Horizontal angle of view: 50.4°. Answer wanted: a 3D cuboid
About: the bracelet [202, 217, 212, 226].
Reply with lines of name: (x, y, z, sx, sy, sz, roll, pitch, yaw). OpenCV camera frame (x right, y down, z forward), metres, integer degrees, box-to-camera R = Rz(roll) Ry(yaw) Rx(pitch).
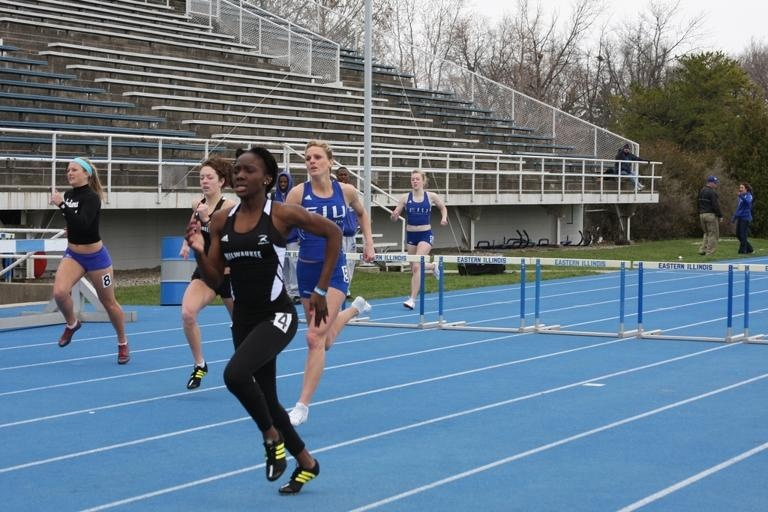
bracelet: (-1.650, -0.325, 7.604, 0.083, 0.038, 0.101, -9, -4, -25)

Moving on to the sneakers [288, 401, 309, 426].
sneakers: (-0.758, 1.401, 7.272, 0.117, 0.148, 0.341, 21, -4, -10)

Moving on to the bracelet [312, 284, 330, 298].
bracelet: (-0.515, 0.265, 6.414, 0.078, 0.046, 0.092, 28, -14, -31)

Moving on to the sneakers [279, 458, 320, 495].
sneakers: (-0.664, 1.737, 6.391, 0.326, 0.156, 0.110, -38, 27, -18)

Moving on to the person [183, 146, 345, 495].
person: (-0.902, 0.495, 6.394, 1.168, 2.706, 0.697, -3, 5, 2)

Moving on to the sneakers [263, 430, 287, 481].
sneakers: (-0.881, 1.574, 6.351, 0.148, 0.421, 0.187, -10, -20, 26)

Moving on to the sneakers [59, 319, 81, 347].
sneakers: (-4.098, 1.018, 10.675, 0.141, 0.410, 0.175, 12, -26, 30)

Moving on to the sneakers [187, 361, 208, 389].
sneakers: (-2.014, 1.280, 8.830, 0.130, 0.153, 0.381, 2, 17, 12)

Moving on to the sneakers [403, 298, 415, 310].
sneakers: (0.420, 0.784, 13.260, 0.109, 0.130, 0.292, 12, -13, 23)

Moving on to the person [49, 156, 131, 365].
person: (-3.544, 0.060, 9.771, 0.796, 2.505, 0.990, -5, 6, -25)
